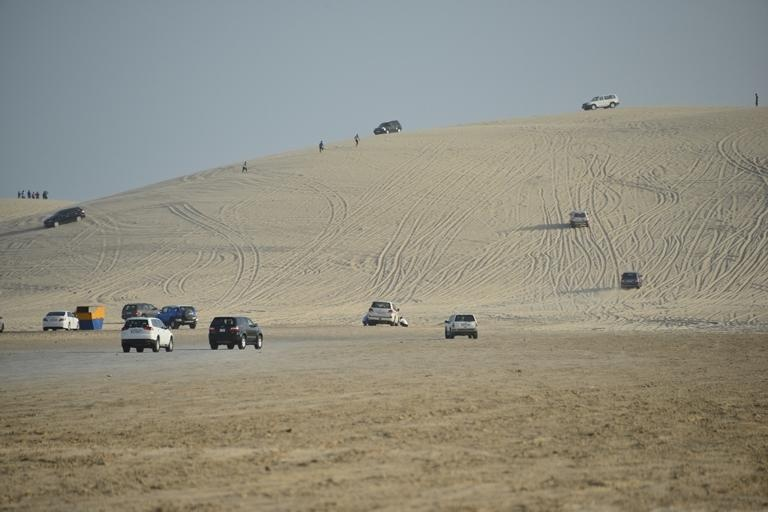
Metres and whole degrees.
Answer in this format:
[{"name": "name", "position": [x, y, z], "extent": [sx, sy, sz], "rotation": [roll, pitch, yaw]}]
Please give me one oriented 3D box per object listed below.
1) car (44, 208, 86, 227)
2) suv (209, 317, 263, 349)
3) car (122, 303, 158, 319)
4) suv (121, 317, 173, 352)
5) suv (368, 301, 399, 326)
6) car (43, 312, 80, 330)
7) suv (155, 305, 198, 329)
[{"name": "car", "position": [-25.610, -3.068, 83.930], "extent": [3.046, 0.917, 1.561], "rotation": [-8, 7, -20]}, {"name": "suv", "position": [-6.467, 3.405, 47.190], "extent": [1.446, 0.878, 2.346], "rotation": [-1, 0, 18]}, {"name": "car", "position": [-13.575, 3.061, 58.396], "extent": [1.035, 0.633, 1.997], "rotation": [1, 4, 30]}, {"name": "suv", "position": [-10.296, 3.456, 46.164], "extent": [1.390, 0.817, 2.440], "rotation": [-1, -1, 10]}, {"name": "suv", "position": [0.128, 3.149, 57.992], "extent": [1.203, 0.775, 1.791], "rotation": [1, 3, 11]}, {"name": "car", "position": [-17.769, 3.590, 57.556], "extent": [1.047, 0.526, 1.839], "rotation": [0, 1, 5]}, {"name": "suv", "position": [-11.365, 3.384, 58.447], "extent": [2.105, 0.696, 1.204], "rotation": [5, 4, 37]}]
